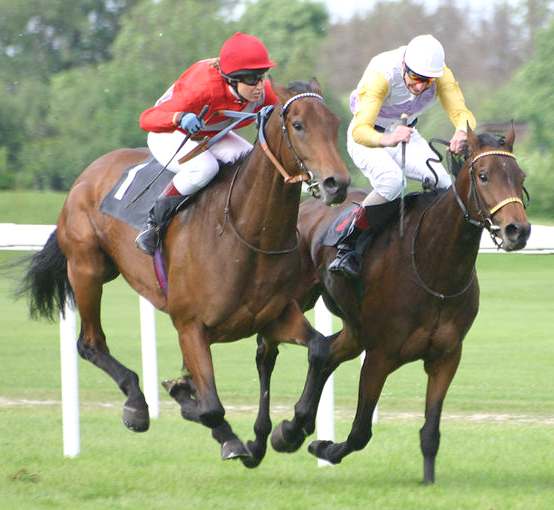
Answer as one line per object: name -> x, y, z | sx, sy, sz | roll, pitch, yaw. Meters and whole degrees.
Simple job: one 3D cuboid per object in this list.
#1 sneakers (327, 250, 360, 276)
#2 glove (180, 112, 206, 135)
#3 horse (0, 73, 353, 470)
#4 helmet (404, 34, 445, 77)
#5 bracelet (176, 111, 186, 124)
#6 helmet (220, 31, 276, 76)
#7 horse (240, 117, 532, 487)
sneakers -> 0.424, 0.044, 7.332 | 0.138, 0.085, 0.205 | 1, -1, -24
glove -> -0.506, -0.783, 6.851 | 0.118, 0.130, 0.058 | -19, -6, -6
horse -> -0.511, 0.152, 7.344 | 0.990, 2.443, 2.459 | -9, 12, -38
helmet -> 0.902, -1.211, 7.078 | 0.239, 0.174, 0.271 | 7, 41, -19
bracelet -> -0.562, -0.826, 6.962 | 0.072, 0.059, 0.061 | 5, 44, 9
helmet -> -0.215, -1.205, 6.891 | 0.319, 0.161, 0.252 | 14, 34, 32
horse -> 0.750, 0.513, 7.761 | 0.949, 2.165, 3.292 | 10, -12, -19
